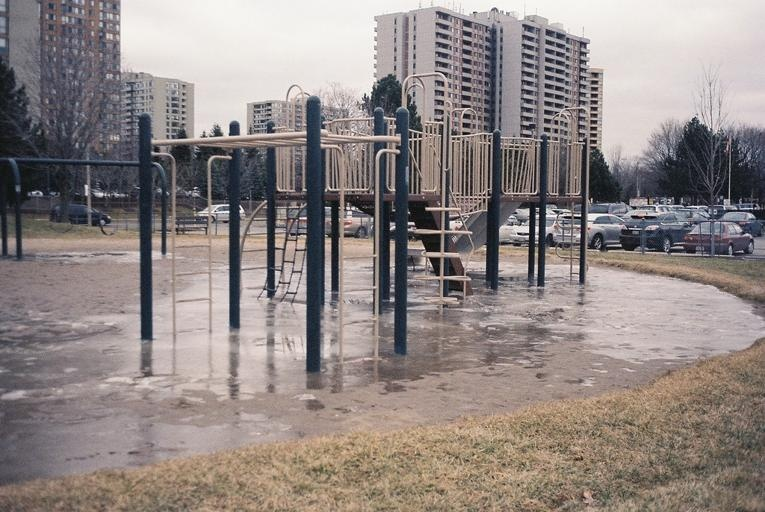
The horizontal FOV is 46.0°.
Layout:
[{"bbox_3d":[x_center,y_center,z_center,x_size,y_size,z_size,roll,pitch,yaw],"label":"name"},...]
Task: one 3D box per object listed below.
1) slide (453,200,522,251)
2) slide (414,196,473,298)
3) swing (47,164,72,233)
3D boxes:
[{"bbox_3d":[2.850,-0.804,23.132,2.291,0.749,1.003,-12,11,-22],"label":"slide"},{"bbox_3d":[1.330,-0.217,19.457,0.470,3.163,0.229,-4,42,21],"label":"slide"},{"bbox_3d":[-17.057,-3.429,47.579,1.001,3.213,10.049,-3,3,-20],"label":"swing"}]
